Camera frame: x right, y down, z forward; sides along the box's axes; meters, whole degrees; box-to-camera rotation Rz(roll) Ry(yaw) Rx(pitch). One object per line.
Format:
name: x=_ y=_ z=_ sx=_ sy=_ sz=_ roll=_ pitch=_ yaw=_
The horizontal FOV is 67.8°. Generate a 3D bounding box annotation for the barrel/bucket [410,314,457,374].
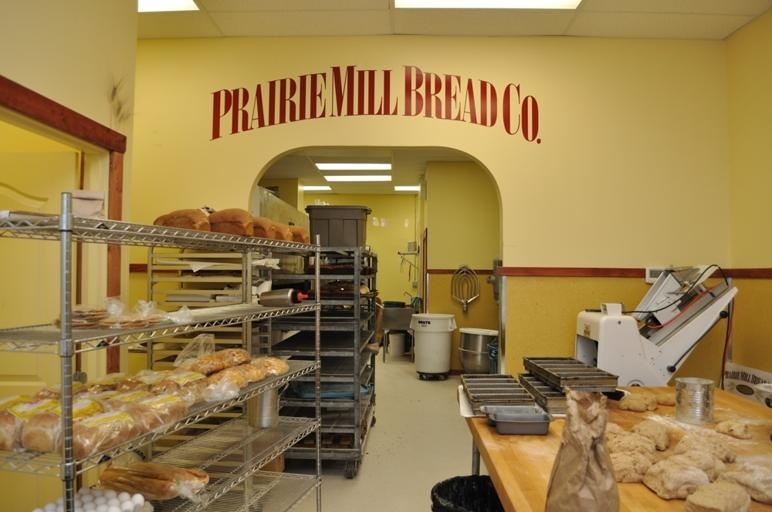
barrel/bucket: x=0.673 y=1.221 z=7.863 sx=0.580 sy=0.820 sz=0.322 roll=1 pitch=-1 yaw=2

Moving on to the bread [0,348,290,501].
bread: x=-1.351 y=0.991 z=3.252 sx=1.368 sy=0.784 sz=0.606 roll=2 pitch=-2 yaw=-43

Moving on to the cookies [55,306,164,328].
cookies: x=-1.484 y=0.342 z=3.166 sx=0.482 sy=0.100 sz=0.285 roll=0 pitch=-2 yaw=7

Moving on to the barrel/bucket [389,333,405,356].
barrel/bucket: x=0.203 y=1.513 z=9.701 sx=0.423 sy=0.336 sz=0.366 roll=0 pitch=-4 yaw=-4

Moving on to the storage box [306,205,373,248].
storage box: x=-0.415 y=-0.279 z=5.384 sx=0.611 sy=0.278 sz=0.405 roll=0 pitch=-2 yaw=-1
